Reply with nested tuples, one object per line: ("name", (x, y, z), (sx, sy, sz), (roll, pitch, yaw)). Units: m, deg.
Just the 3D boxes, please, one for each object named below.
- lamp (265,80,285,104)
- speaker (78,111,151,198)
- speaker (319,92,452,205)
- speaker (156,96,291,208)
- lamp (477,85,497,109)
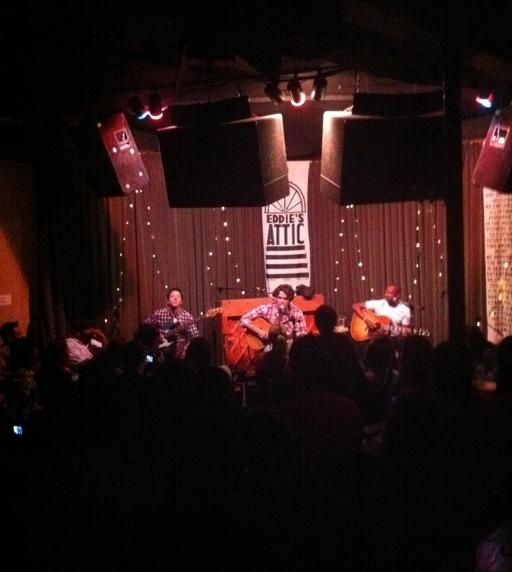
("lamp", (0.179, -1.773, 4.222), (0.124, 0.215, 0.221), (-24, -30, -9))
("speaker", (-1.402, -1.316, 4.449), (0.420, 0.738, 0.468), (13, 10, 24))
("speaker", (0.873, -0.987, 3.243), (0.673, 0.780, 0.425), (-1, 21, -10))
("speaker", (-0.271, -0.952, 3.407), (0.697, 0.814, 0.448), (-2, 10, 10))
("lamp", (1.971, -1.580, 3.873), (0.092, 0.158, 0.351), (8, 10, 43))
